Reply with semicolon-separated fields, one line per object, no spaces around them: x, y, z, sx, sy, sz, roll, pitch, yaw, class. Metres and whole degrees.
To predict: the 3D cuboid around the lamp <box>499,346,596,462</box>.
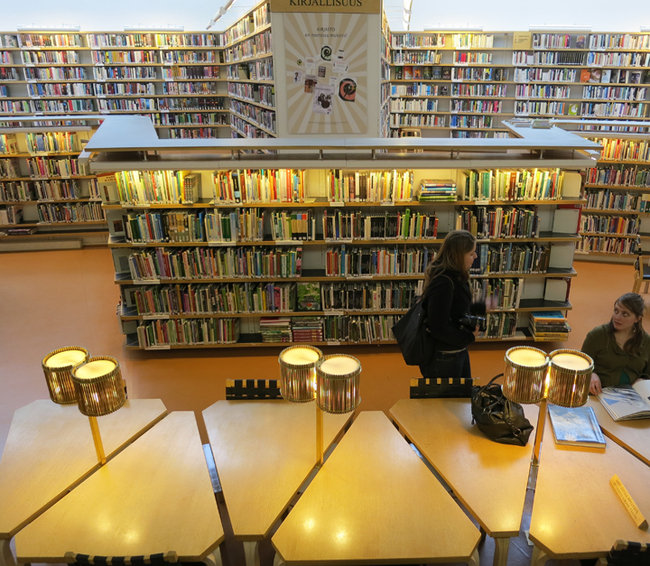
1.070;0.608;2.456;0.375;0.617;0.389;6;23;17;lamp

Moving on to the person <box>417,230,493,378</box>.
0.789;0.165;3.128;0.354;1.003;0.279;4;24;13;person
